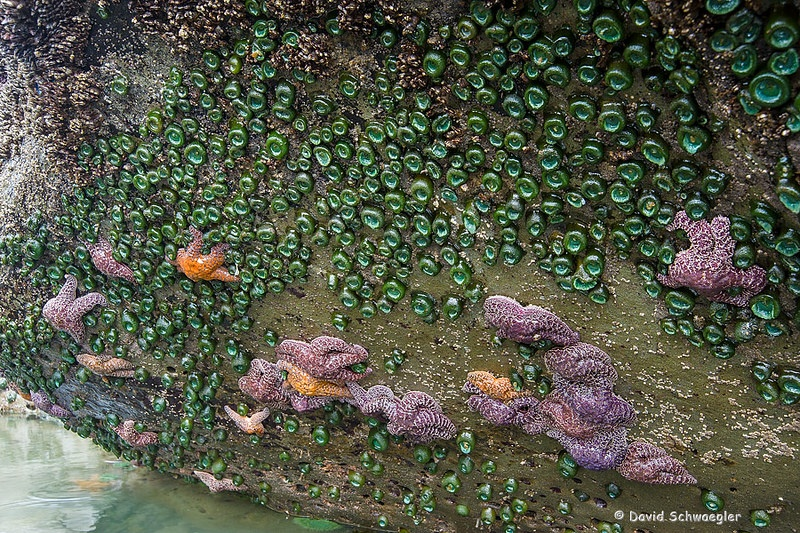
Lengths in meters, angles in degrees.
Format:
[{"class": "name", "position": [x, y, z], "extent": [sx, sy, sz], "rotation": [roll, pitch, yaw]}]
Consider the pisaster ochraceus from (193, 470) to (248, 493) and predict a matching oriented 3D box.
[{"class": "pisaster ochraceus", "position": [-2.018, 2.404, 10.475], "extent": [0.319, 0.345, 0.070], "rotation": [-1, 51, 14]}]

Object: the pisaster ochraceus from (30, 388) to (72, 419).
[{"class": "pisaster ochraceus", "position": [-4.088, 1.613, 10.951], "extent": [0.479, 0.295, 0.111], "rotation": [38, 31, 4]}]

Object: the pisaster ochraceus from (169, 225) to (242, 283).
[{"class": "pisaster ochraceus", "position": [-1.924, -0.064, 9.519], "extent": [0.659, 0.301, 0.436], "rotation": [26, 77, 15]}]

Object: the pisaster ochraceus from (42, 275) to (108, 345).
[{"class": "pisaster ochraceus", "position": [-3.482, 0.459, 10.091], "extent": [0.607, 0.187, 0.653], "rotation": [43, 98, -2]}]

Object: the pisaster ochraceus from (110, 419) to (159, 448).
[{"class": "pisaster ochraceus", "position": [-2.911, 1.883, 10.588], "extent": [0.440, 0.301, 0.249], "rotation": [8, 73, 10]}]
